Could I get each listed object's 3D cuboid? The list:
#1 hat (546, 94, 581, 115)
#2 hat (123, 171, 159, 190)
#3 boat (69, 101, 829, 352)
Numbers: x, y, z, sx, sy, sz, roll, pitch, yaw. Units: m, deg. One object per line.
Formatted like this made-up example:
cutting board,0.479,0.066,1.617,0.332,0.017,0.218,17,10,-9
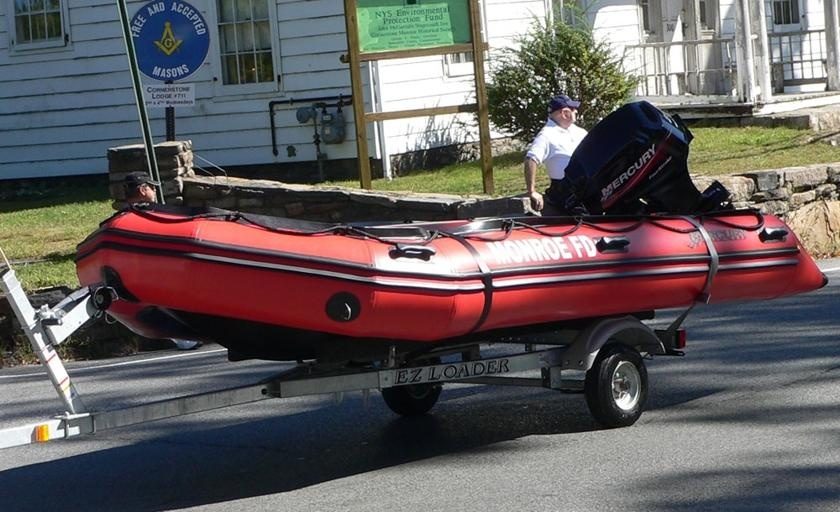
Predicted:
hat,2.045,-2.200,16.466,0.491,0.221,0.329,-6,10,-10
hat,-3.480,-0.968,14.578,0.475,0.215,0.339,-4,8,-37
boat,0.457,-0.192,14.222,7.778,2.275,3.419,-3,4,-26
